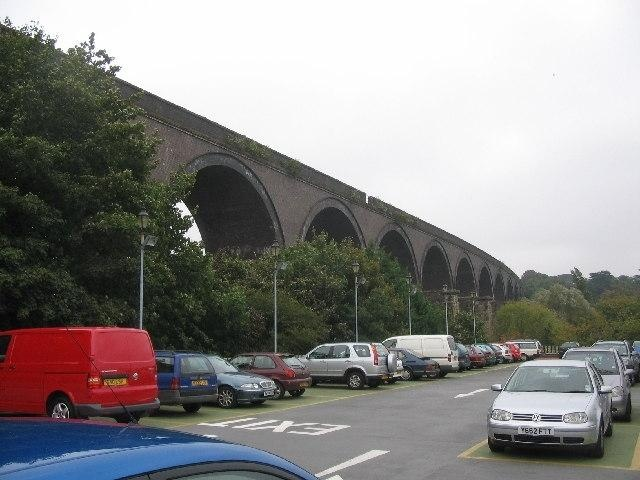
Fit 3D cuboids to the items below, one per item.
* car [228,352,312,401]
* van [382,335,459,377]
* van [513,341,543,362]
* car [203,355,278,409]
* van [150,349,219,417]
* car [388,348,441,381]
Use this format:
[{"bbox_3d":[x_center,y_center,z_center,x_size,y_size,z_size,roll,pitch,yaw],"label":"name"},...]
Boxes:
[{"bbox_3d":[-1.676,4.601,21.723,2.367,1.209,1.503,1,-5,27],"label":"car"},{"bbox_3d":[5.383,6.178,32.672,3.651,1.742,2.004,0,-7,17],"label":"van"},{"bbox_3d":[18.604,10.089,55.394,2.451,1.541,1.554,5,-1,21],"label":"van"},{"bbox_3d":[-2.575,4.433,18.961,2.451,0.999,1.189,-6,-10,26],"label":"car"},{"bbox_3d":[-3.806,3.818,17.003,1.812,1.066,1.138,-2,-6,32],"label":"van"},{"bbox_3d":[4.587,6.062,29.745,2.590,1.026,1.308,0,-6,15],"label":"car"}]
